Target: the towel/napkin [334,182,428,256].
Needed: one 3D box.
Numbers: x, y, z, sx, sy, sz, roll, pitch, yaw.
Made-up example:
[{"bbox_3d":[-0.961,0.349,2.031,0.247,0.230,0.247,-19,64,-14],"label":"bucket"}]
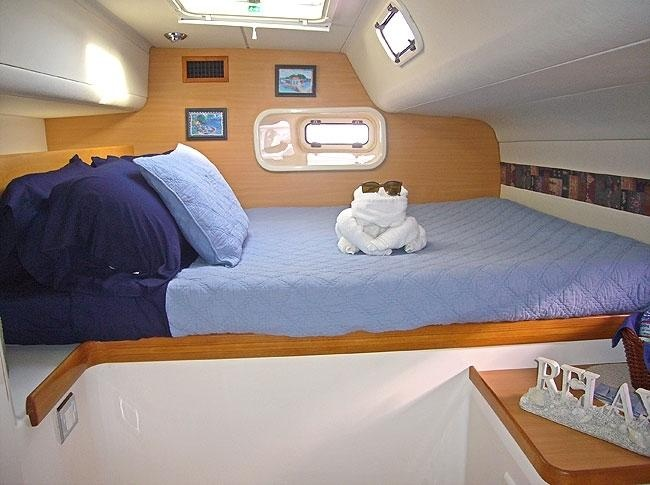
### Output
[{"bbox_3d":[0.332,-0.209,2.396,0.511,0.226,0.630,5,37,11],"label":"towel/napkin"}]
